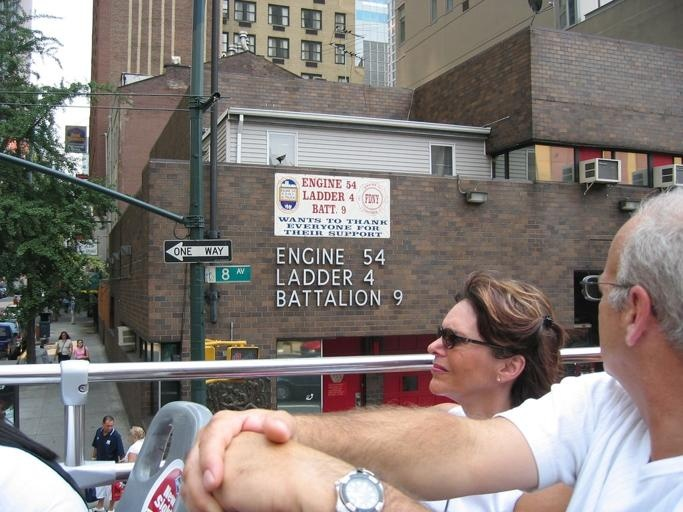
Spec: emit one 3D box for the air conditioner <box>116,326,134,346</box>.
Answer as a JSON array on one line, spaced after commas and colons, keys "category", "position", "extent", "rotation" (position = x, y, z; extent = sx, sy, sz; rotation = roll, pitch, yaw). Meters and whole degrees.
[{"category": "air conditioner", "position": [-5.792, 2.262, 25.313], "extent": [0.648, 0.644, 0.419], "rotation": [7, -13, -45]}]
